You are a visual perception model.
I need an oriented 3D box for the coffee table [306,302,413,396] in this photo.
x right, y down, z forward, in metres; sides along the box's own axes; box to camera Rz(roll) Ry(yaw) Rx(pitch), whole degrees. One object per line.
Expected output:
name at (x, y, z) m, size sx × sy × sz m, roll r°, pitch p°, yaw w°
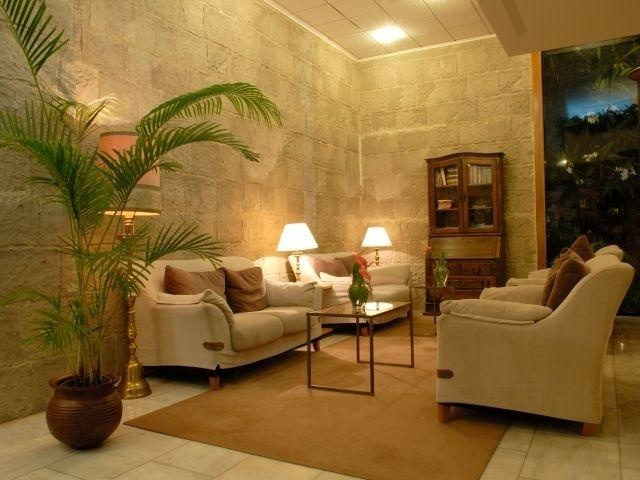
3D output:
coffee table at (0.408, 0.963, 4.152) m, size 0.601 × 0.641 × 1.075 m, roll -3°, pitch -6°, yaw 27°

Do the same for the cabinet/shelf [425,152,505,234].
cabinet/shelf at (2.291, -0.721, 6.967) m, size 1.284 × 1.363 × 0.457 m, roll -1°, pitch -3°, yaw 28°

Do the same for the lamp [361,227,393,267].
lamp at (0.906, 0.088, 7.541) m, size 0.629 × 0.709 × 0.622 m, roll -1°, pitch 4°, yaw 2°

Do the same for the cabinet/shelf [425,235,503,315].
cabinet/shelf at (2.179, 0.481, 7.079) m, size 1.119 × 1.214 × 0.720 m, roll 0°, pitch 14°, yaw 5°

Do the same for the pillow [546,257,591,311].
pillow at (1.589, 0.285, 2.875) m, size 0.126 × 0.252 × 0.230 m, roll 15°, pitch 34°, yaw 16°

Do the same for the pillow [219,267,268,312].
pillow at (-0.783, 0.558, 4.792) m, size 0.275 × 0.507 × 0.598 m, roll 9°, pitch 6°, yaw 32°

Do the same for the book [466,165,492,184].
book at (2.446, -1.020, 6.903) m, size 0.305 × 0.281 × 0.107 m, roll -1°, pitch -2°, yaw 29°

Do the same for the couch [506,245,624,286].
couch at (2.511, 0.335, 4.773) m, size 0.807 × 0.240 × 0.796 m, roll -18°, pitch -3°, yaw -22°

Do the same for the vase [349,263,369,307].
vase at (0.361, 0.403, 4.217) m, size 0.186 × 0.396 × 0.295 m, roll -4°, pitch 2°, yaw 6°

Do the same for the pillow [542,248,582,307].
pillow at (1.775, 0.269, 3.311) m, size 0.099 × 0.312 × 0.334 m, roll 25°, pitch 30°, yaw 30°

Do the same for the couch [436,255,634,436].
couch at (1.457, 0.711, 3.222) m, size 1.015 × 0.965 × 1.452 m, roll 0°, pitch -4°, yaw 25°
